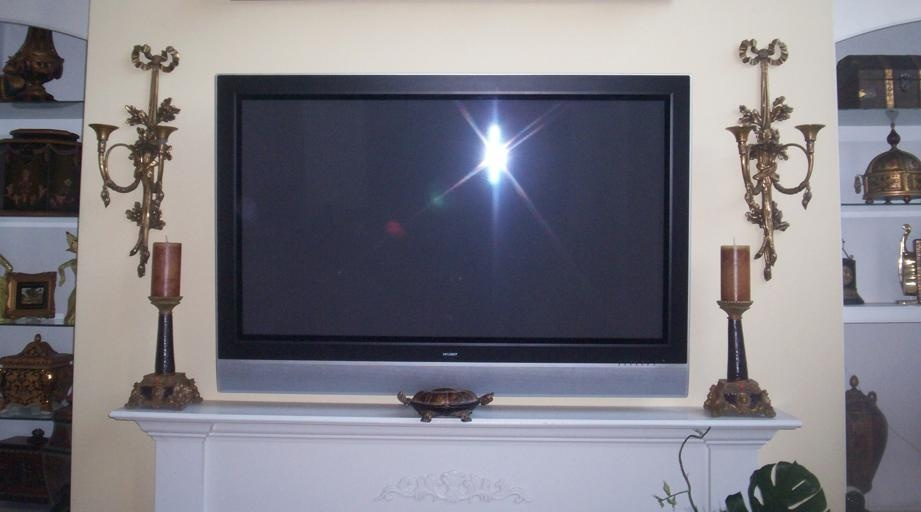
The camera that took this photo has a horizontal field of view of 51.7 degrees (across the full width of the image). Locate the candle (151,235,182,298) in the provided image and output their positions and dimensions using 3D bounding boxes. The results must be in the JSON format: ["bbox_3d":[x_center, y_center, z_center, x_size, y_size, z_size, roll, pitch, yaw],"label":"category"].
[{"bbox_3d":[-1.661,0.083,5.385,0.178,0.318,0.124,1,3,-6],"label":"candle"}]

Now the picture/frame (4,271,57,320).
[{"bbox_3d":[-2.538,0.239,5.636,0.301,0.301,0.042,0,-1,-8],"label":"picture/frame"}]

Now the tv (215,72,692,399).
[{"bbox_3d":[0.043,-0.093,5.434,1.922,1.249,0.183,1,2,2],"label":"tv"}]

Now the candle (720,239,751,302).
[{"bbox_3d":[1.528,0.101,5.333,0.165,0.313,0.079,1,3,6],"label":"candle"}]
